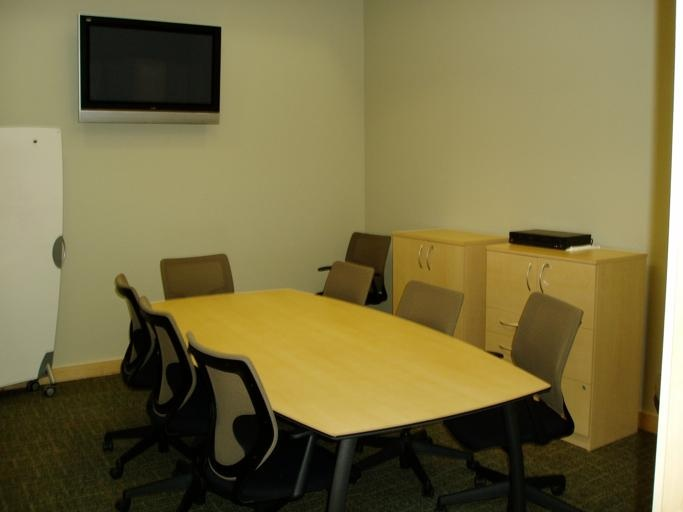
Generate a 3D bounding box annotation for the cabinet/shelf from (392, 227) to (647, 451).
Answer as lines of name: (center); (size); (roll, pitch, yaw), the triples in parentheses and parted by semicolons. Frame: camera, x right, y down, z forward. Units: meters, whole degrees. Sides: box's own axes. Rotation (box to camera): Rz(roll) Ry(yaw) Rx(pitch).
cabinet/shelf: (1.232, 0.546, 3.401); (0.466, 1.047, 1.361); (0, 6, -31)
